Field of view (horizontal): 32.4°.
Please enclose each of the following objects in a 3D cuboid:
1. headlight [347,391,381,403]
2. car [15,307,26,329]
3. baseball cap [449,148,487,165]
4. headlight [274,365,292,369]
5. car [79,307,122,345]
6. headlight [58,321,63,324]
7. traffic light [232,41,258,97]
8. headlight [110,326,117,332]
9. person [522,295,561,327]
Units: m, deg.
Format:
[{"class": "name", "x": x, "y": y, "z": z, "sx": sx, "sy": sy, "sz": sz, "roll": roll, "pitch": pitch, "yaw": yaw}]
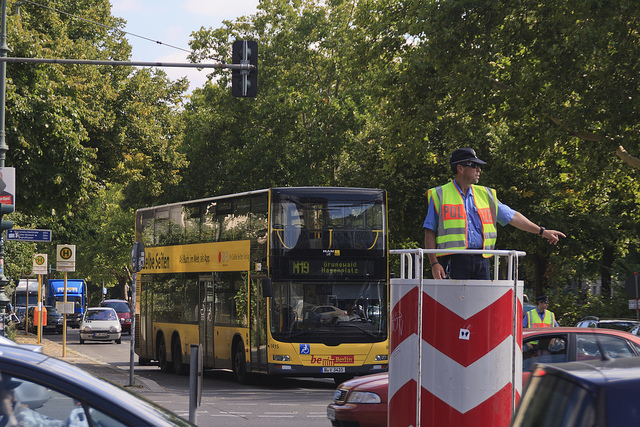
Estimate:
[{"class": "headlight", "x": 1.039, "y": 4.356, "z": 26.316, "sx": 0.746, "sy": 0.251, "sz": 0.137, "roll": -1, "pitch": -6, "yaw": 8}, {"class": "car", "x": -18.000, "y": 6.203, "z": 66.543, "sx": 1.042, "sy": 0.981, "sz": 1.868, "roll": 3, "pitch": -13, "yaw": -18}, {"class": "baseball cap", "x": 3.032, "y": -1.232, "z": 23.131, "sx": 0.555, "sy": 0.260, "sz": 0.360, "roll": 0, "pitch": 1, "yaw": 0}, {"class": "headlight", "x": -1.130, "y": 4.645, "z": 33.696, "sx": 0.498, "sy": 0.115, "sz": 0.041, "roll": 1, "pitch": -6, "yaw": -8}, {"class": "car", "x": -10.834, "y": 5.490, "z": 54.539, "sx": 2.009, "sy": 1.755, "sz": 1.694, "roll": 2, "pitch": -6, "yaw": -17}, {"class": "headlight", "x": -14.677, "y": 6.090, "z": 62.430, "sx": 0.197, "sy": 0.142, "sz": 0.245, "roll": -3, "pitch": -7, "yaw": 29}, {"class": "traffic light", "x": -2.283, "y": -4.417, "z": 33.283, "sx": 0.727, "sy": 1.587, "sz": 0.812, "roll": 1, "pitch": -6, "yaw": -7}, {"class": "headlight", "x": -10.074, "y": 5.589, "z": 53.992, "sx": 0.296, "sy": 0.276, "sz": 0.104, "roll": 1, "pitch": -6, "yaw": -9}, {"class": "person", "x": 6.726, "y": 2.931, "z": 33.854, "sx": 0.799, "sy": 0.947, "sz": 1.134, "roll": -1, "pitch": -6, "yaw": 13}]
